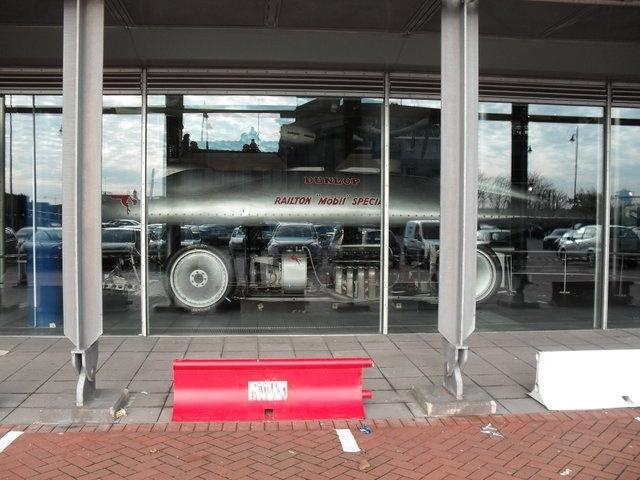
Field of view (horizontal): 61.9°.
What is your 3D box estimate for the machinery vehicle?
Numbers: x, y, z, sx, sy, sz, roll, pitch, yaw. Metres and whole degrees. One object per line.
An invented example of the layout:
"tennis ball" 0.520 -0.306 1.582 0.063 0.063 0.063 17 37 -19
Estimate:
"machinery vehicle" -0.206 0.425 10.214 4.581 0.890 2.229 -1 2 -2
